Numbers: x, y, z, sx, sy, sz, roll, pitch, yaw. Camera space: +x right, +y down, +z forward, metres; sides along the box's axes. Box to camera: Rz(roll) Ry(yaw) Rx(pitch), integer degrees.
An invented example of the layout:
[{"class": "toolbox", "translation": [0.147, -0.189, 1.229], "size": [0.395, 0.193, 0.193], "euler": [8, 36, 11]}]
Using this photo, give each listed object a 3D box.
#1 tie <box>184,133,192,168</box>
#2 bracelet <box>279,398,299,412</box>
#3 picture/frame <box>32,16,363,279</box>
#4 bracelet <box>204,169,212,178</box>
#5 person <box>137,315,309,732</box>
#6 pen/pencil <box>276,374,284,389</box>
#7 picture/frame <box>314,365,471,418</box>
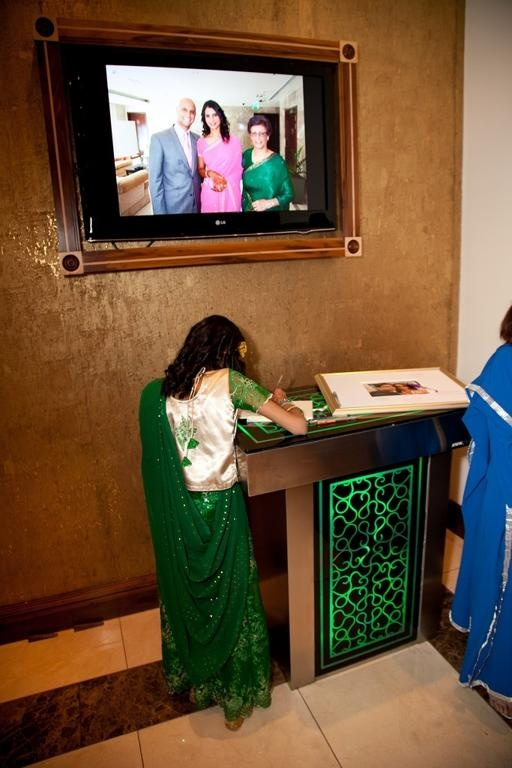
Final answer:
[{"class": "tie", "translation": [-0.231, -0.796, 1.872], "size": [0.024, 0.104, 0.018], "euler": [-8, 12, -28]}, {"class": "bracelet", "translation": [0.096, 0.056, 1.562], "size": [0.040, 0.021, 0.031], "euler": [32, 7, -7]}, {"class": "picture/frame", "translation": [-0.232, -0.826, 1.872], "size": [0.873, 0.679, 0.042], "euler": [-7, 18, -19]}, {"class": "bracelet", "translation": [-0.168, -0.732, 1.917], "size": [0.016, 0.024, 0.006], "euler": [-2, 17, -19]}, {"class": "person", "translation": [-0.098, 0.422, 1.646], "size": [0.445, 1.224, 0.313], "euler": [-5, 11, -14]}, {"class": "pen/pencil", "translation": [0.097, 0.001, 2.226], "size": [0.016, 0.077, 0.010], "euler": [27, 6, 20]}, {"class": "picture/frame", "translation": [0.454, 0.020, 1.863], "size": [0.472, 0.061, 0.458], "euler": [-3, 12, 0]}]
